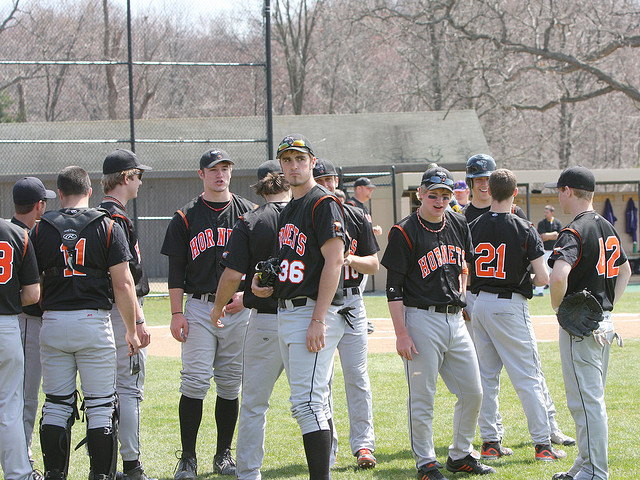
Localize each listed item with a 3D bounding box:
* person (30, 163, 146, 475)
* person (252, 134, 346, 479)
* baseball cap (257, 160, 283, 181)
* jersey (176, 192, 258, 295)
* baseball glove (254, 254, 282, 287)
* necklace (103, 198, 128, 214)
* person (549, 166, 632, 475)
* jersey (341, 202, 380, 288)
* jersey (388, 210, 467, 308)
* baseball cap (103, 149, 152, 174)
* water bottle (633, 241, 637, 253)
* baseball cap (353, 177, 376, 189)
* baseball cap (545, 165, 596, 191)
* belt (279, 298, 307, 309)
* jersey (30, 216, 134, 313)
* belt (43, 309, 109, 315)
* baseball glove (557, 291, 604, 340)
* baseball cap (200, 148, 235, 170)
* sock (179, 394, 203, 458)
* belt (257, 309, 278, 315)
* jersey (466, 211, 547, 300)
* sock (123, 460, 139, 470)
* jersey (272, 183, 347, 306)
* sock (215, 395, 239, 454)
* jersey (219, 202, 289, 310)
[{"bbox_3d":[-2.500,0.841,9.953,1.065,3.195,0.556,-3,3,-12],"label":"person"},{"bbox_3d":[-0.091,0.650,9.642,0.591,3.444,0.741,-4,4,-40],"label":"person"},{"bbox_3d":[-0.531,-0.796,10.581,0.270,0.155,0.194,-17,16,-32],"label":"baseball cap"},{"bbox_3d":[-1.153,0.083,10.444,1.080,1.207,0.620,3,-3,-15],"label":"jersey"},{"bbox_3d":[-0.493,0.318,9.874,0.215,0.269,0.606,0,-14,-12],"label":"baseball glove"},{"bbox_3d":[-2.267,-0.376,10.320,0.165,0.159,0.041,21,-11,-6],"label":"necklace"},{"bbox_3d":[2.855,0.848,10.022,0.676,3.236,0.753,0,4,29],"label":"person"},{"bbox_3d":[0.462,0.075,10.352,0.384,0.978,1.007,-2,3,1],"label":"jersey"},{"bbox_3d":[1.167,0.225,10.103,1.009,1.018,0.557,-1,-2,-24],"label":"jersey"},{"bbox_3d":[-2.196,-0.869,10.422,0.378,0.199,0.231,-9,8,-22],"label":"baseball cap"},{"bbox_3d":[8.258,0.191,24.374,0.092,0.264,0.309,-1,3,16],"label":"water bottle"},{"bbox_3d":[0.629,-0.803,12.907,0.230,0.129,0.162,12,5,1],"label":"baseball cap"},{"bbox_3d":[2.769,-0.657,10.139,0.403,0.214,0.264,9,6,20],"label":"baseball cap"},{"bbox_3d":[-0.269,0.643,9.550,0.300,0.103,0.040,-1,3,20],"label":"belt"},{"bbox_3d":[-2.589,0.226,10.132,1.310,1.094,0.605,-3,-8,15],"label":"jersey"},{"bbox_3d":[-2.582,0.764,9.887,0.663,0.077,0.119,-2,3,-4],"label":"belt"},{"bbox_3d":[2.751,0.785,9.774,0.453,0.173,0.525,-36,44,1],"label":"baseball glove"},{"bbox_3d":[-1.184,-0.919,10.708,0.353,0.228,0.297,-3,3,-17],"label":"baseball cap"},{"bbox_3d":[-1.415,2.043,10.340,0.255,0.677,0.200,-2,3,-8],"label":"sock"},{"bbox_3d":[-0.559,0.771,10.034,0.207,0.054,0.016,-1,3,8],"label":"belt"},{"bbox_3d":[2.031,0.197,10.737,1.047,1.068,0.471,1,-2,13],"label":"jersey"},{"bbox_3d":[-2.041,2.413,10.110,0.112,0.091,0.113,-2,2,-9],"label":"sock"},{"bbox_3d":[-0.147,0.057,9.784,0.644,1.193,0.832,-6,7,-37],"label":"jersey"},{"bbox_3d":[-1.033,2.053,10.479,0.262,0.612,0.194,-2,3,-7],"label":"sock"},{"bbox_3d":[-0.444,0.252,10.189,1.181,1.176,0.457,2,-4,26],"label":"jersey"}]
